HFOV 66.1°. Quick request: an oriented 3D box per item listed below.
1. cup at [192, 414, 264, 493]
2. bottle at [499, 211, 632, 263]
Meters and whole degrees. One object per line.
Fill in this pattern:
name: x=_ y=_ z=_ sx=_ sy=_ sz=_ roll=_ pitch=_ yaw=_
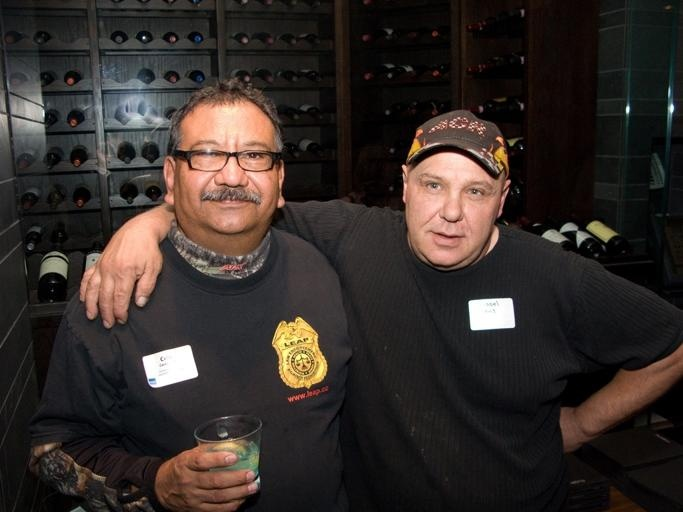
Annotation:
cup: x=-0.307 y=0.567 z=1.479 sx=0.200 sy=0.217 sz=0.196 roll=-5 pitch=-18 yaw=-2
bottle: x=1.193 y=-0.100 z=2.725 sx=0.162 sy=0.177 sz=0.728 roll=-11 pitch=12 yaw=-13
